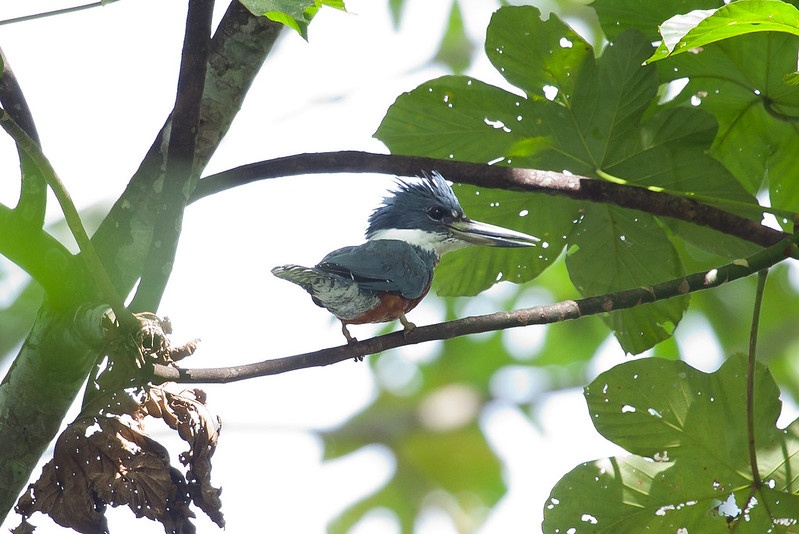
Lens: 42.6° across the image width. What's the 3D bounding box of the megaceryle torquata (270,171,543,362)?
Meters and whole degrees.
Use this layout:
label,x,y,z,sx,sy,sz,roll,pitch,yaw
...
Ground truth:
label,x,y,z,sx,sy,sz,roll,pitch,yaw
megaceryle torquata,-0.014,-0.025,5.930,1.471,1.094,0.445,5,-13,-22
